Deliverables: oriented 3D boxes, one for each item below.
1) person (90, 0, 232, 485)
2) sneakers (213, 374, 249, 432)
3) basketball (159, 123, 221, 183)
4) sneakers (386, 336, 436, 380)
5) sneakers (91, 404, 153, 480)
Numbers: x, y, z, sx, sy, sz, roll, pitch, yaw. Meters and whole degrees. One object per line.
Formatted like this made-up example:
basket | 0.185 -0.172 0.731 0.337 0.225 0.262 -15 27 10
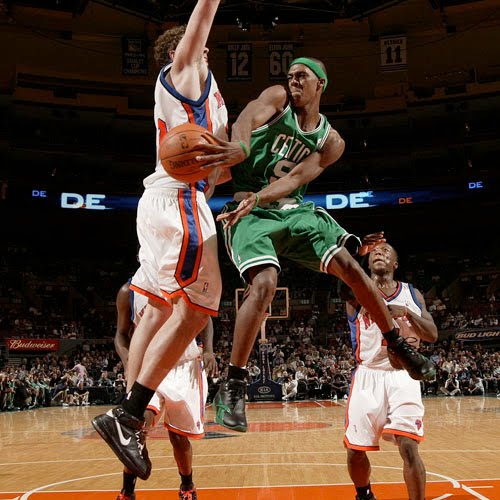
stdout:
person | -0.425 -0.143 2.714 0.627 2.651 0.748 -1 -7 -3
sneakers | -0.094 0.766 2.539 0.157 0.283 0.285 -1 -7 -3
basketball | -0.268 -0.493 2.498 0.271 0.283 0.257 -13 29 -36
sneakers | 0.876 0.596 2.842 0.243 0.255 0.319 -3 -7 17
sneakers | -0.572 0.860 2.306 0.246 0.315 0.232 1 -7 -17
